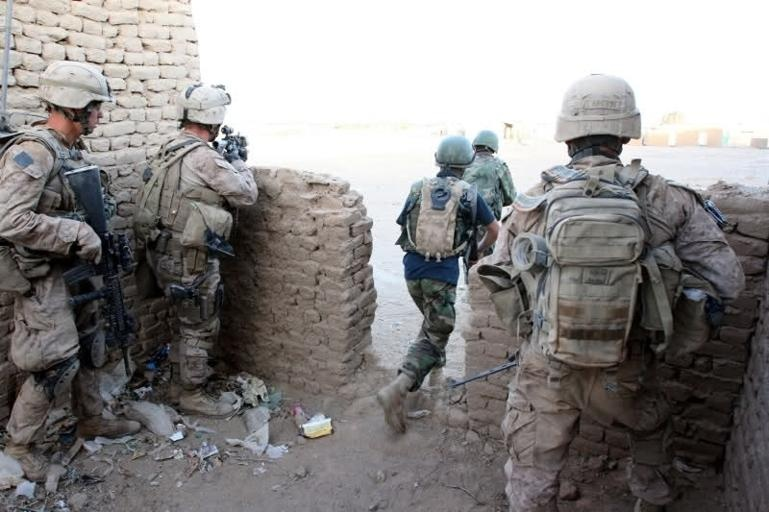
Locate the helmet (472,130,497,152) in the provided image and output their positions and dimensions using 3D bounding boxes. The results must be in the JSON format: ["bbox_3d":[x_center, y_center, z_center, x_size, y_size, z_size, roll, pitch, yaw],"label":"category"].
[{"bbox_3d":[1.233,-1.408,7.675,0.277,0.252,0.291,10,10,4],"label":"helmet"}]

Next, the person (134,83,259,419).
[{"bbox_3d":[-1.828,-0.046,6.108,1.184,3.196,0.779,-2,14,-10],"label":"person"}]

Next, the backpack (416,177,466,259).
[{"bbox_3d":[0.529,-0.350,5.852,0.455,0.752,0.252,1,14,4],"label":"backpack"}]

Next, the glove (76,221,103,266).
[{"bbox_3d":[-2.469,-0.099,5.220,0.176,0.379,0.209,-4,14,-14],"label":"glove"}]

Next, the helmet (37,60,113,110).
[{"bbox_3d":[-2.583,-1.436,5.177,0.544,0.306,0.404,-2,31,-36],"label":"helmet"}]

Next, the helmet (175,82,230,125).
[{"bbox_3d":[-1.734,-1.456,6.017,0.490,0.395,0.265,-4,14,-16],"label":"helmet"}]

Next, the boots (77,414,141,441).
[{"bbox_3d":[-2.536,1.576,5.715,0.437,0.105,0.211,4,7,-17],"label":"boots"}]

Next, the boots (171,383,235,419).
[{"bbox_3d":[-1.761,1.441,6.224,0.487,0.160,0.342,4,2,-20],"label":"boots"}]
